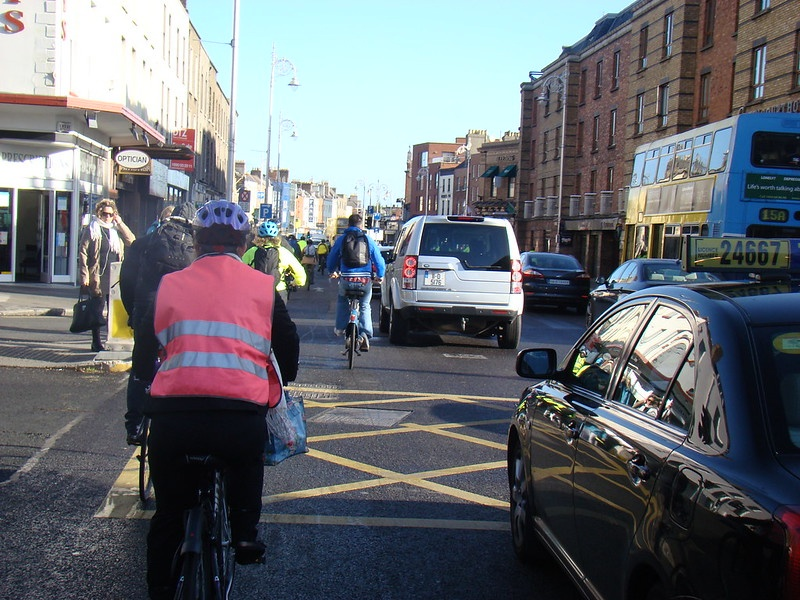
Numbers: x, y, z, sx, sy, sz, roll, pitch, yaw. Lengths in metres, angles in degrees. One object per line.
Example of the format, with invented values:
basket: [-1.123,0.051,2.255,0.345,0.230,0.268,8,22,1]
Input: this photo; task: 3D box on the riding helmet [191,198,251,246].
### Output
riding helmet: [-0.878,-0.377,3.427,0.178,0.190,0.265,0,1,-12]

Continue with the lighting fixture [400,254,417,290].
lighting fixture: [0.184,-0.550,13.407,0.304,0.649,0.164,1,7,5]

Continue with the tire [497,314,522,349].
tire: [2.186,0.597,14.086,0.230,0.764,0.673,2,1,-2]

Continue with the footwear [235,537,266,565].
footwear: [-0.702,1.153,3.273,0.133,0.176,0.038,-6,22,-10]

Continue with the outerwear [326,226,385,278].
outerwear: [-0.754,-0.742,11.969,0.622,1.124,0.961,2,4,3]

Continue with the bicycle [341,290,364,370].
bicycle: [-0.771,0.441,11.530,0.284,1.314,0.808,0,7,-3]

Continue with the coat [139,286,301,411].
coat: [-0.837,0.224,3.200,0.680,0.840,0.448,1,10,-3]
